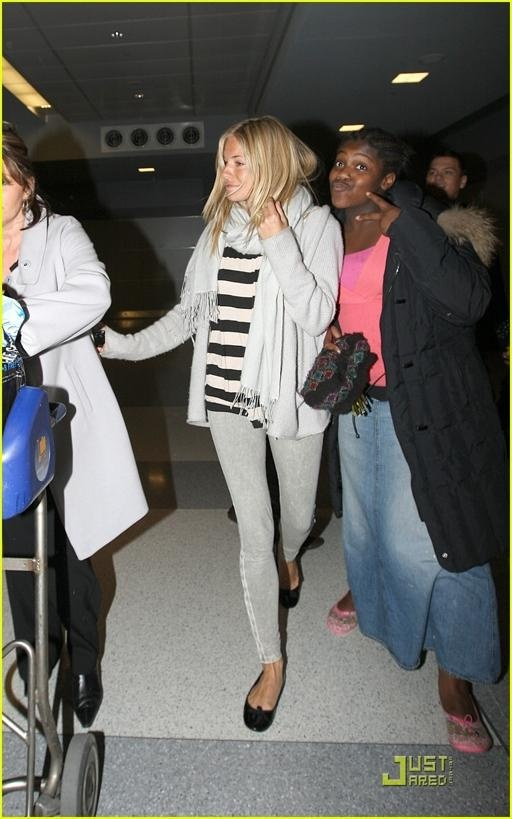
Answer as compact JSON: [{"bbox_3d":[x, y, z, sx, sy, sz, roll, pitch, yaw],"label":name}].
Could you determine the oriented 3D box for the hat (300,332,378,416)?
[{"bbox_3d":[0.213,-0.078,1.460,0.194,0.162,0.106,-30,42,-30],"label":"hat"}]

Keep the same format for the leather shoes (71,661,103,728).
[{"bbox_3d":[-0.460,0.777,1.603,0.051,0.060,0.162,-14,75,9],"label":"leather shoes"}]
